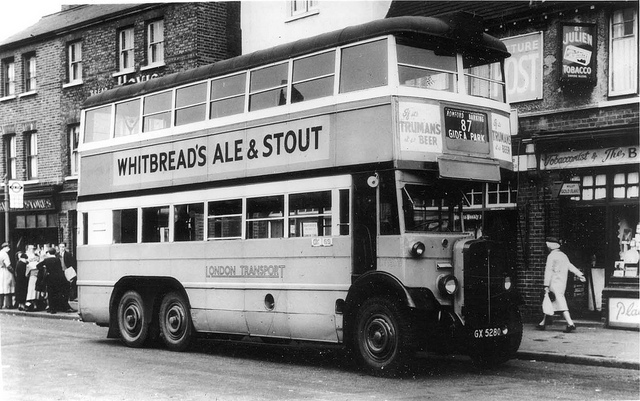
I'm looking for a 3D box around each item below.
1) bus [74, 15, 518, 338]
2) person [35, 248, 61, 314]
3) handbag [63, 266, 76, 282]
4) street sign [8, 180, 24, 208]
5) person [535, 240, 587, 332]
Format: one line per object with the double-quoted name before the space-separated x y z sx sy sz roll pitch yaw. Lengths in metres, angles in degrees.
"bus" -0.421 -0.244 16.701 9.127 5.453 3.649 -3 -3 40
"person" -9.922 2.976 25.985 0.547 2.359 0.740 -2 3 -43
"handbag" -9.380 2.783 26.511 0.473 0.396 0.408 -3 9 -3
"street sign" -9.540 -0.194 22.023 0.765 1.092 0.049 5 0 37
"person" 6.880 2.378 20.092 1.139 2.491 1.543 1 2 30
